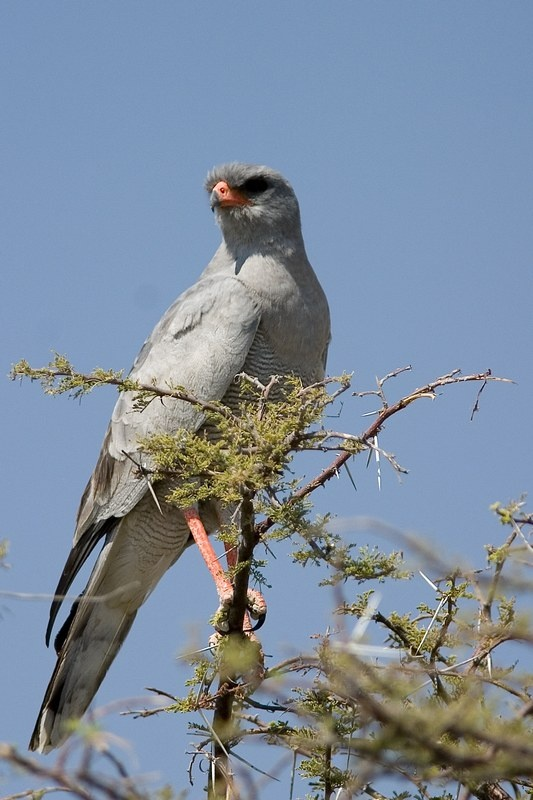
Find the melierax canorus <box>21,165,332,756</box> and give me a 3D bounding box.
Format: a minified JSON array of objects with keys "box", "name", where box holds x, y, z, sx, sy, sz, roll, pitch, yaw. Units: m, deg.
[{"box":[-0.311,0.174,5.921,0.801,2.513,1.459,20,-40,-14],"name":"melierax canorus"}]
